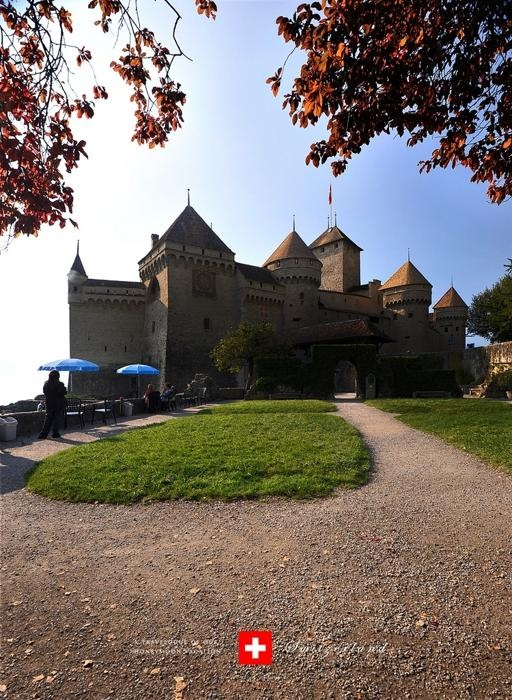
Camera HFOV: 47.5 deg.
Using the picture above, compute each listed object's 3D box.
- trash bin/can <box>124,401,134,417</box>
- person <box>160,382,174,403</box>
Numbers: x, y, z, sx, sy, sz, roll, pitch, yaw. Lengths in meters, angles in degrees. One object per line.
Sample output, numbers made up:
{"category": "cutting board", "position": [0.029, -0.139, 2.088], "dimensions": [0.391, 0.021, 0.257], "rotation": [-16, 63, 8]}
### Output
{"category": "trash bin/can", "position": [-4.300, 2.048, 20.056], "dimensions": [0.382, 0.423, 0.399], "rotation": [-2, -4, 16]}
{"category": "person", "position": [-3.487, 1.693, 22.421], "dimensions": [0.526, 0.749, 0.747], "rotation": [-2, -11, 5]}
